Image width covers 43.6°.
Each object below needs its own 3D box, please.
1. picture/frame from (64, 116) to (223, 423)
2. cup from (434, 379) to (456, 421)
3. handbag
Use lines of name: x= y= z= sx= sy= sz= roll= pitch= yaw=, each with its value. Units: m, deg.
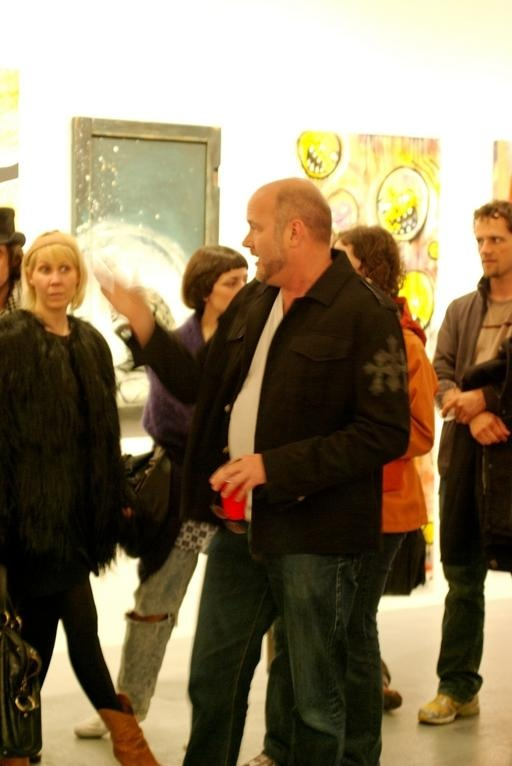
picture/frame: x=-0.558 y=-0.623 z=3.102 sx=0.648 sy=1.303 sz=0.041 roll=-5 pitch=47 yaw=-19
cup: x=0.740 y=0.062 z=2.508 sx=0.056 sy=0.156 sz=0.116 roll=8 pitch=7 yaw=-8
handbag: x=-0.342 y=0.374 z=2.023 sx=0.123 sy=0.311 sz=0.239 roll=10 pitch=-10 yaw=-17
